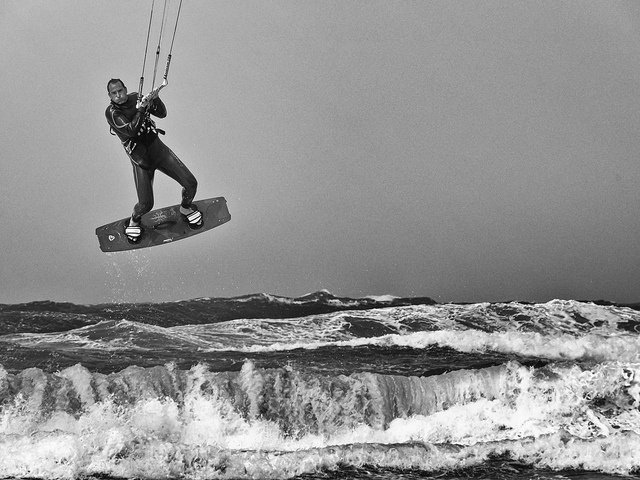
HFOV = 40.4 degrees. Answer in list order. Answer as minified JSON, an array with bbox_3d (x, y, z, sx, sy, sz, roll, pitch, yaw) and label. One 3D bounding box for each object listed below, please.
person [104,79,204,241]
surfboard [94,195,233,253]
[{"bbox_3d":[-2.017,-0.939,10.417,0.806,1.904,1.064,-3,4,19],"label":"person"},{"bbox_3d":[-1.912,-0.162,10.819,1.517,0.535,0.261,-17,-13,-7],"label":"surfboard"}]
